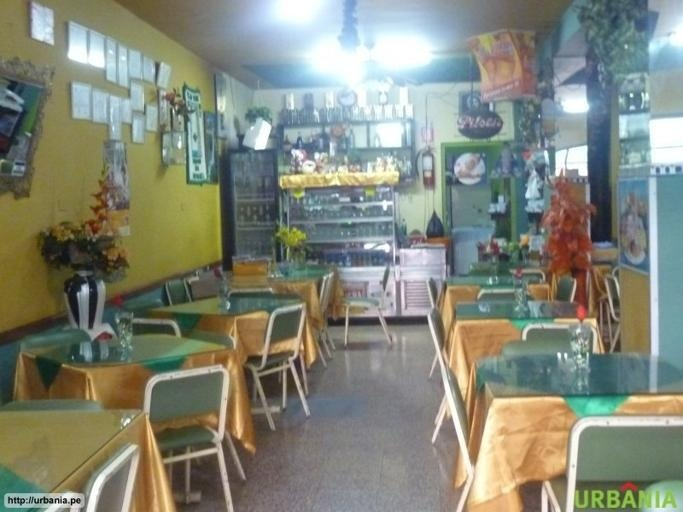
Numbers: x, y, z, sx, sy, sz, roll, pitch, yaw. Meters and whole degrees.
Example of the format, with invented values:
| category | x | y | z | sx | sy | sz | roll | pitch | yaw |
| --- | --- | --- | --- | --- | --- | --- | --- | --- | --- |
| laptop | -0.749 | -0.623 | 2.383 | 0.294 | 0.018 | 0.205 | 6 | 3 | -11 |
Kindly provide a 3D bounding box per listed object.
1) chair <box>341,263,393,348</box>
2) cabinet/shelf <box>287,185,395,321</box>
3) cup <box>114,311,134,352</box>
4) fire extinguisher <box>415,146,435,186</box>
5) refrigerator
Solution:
| category | x | y | z | sx | sy | sz | roll | pitch | yaw |
| --- | --- | --- | --- | --- | --- | --- | --- | --- | --- |
| chair | 0.341 | 0.640 | 8.152 | 0.843 | 1.441 | 0.798 | 2 | 3 | -1 |
| cabinet/shelf | 0.088 | -0.048 | 8.556 | 1.741 | 2.559 | 0.822 | -1 | -2 | 3 |
| cup | -1.506 | 0.502 | 4.004 | 0.102 | 0.247 | 0.310 | -3 | 6 | -23 |
| fire extinguisher | 1.497 | -1.530 | 10.011 | 0.299 | 0.716 | 0.107 | -1 | 4 | 4 |
| refrigerator | -1.410 | -0.882 | 9.435 | 0.793 | 1.705 | 0.273 | -2 | 4 | -7 |
